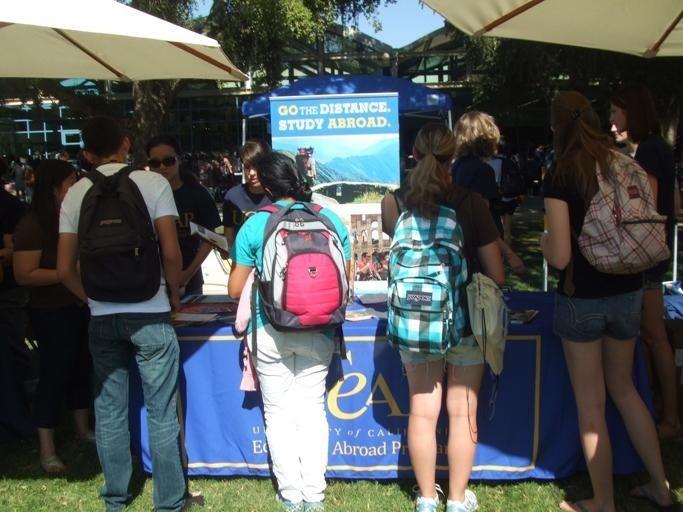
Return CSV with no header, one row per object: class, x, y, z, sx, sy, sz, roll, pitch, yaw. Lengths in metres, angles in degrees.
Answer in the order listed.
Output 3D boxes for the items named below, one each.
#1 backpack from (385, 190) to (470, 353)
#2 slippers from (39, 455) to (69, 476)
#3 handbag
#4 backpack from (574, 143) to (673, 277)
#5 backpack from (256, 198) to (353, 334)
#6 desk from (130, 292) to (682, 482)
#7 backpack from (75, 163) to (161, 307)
backpack,0.497,0.124,3.715,0.464,0.801,0.257,3,8,13
slippers,-2.036,1.485,4.592,0.081,0.119,0.246,-18,-10,-40
handbag,0.845,0.399,3.800,0.258,0.582,0.180,1,8,5
backpack,1.652,-0.240,3.715,0.479,0.720,0.341,-11,16,-12
backpack,-0.232,0.099,3.856,0.476,0.833,0.380,1,-12,-23
desk,0.253,1.042,4.548,2.387,0.754,1.585,-1,11,3
backpack,-1.356,-0.132,3.910,0.417,0.820,0.420,-3,18,-8
